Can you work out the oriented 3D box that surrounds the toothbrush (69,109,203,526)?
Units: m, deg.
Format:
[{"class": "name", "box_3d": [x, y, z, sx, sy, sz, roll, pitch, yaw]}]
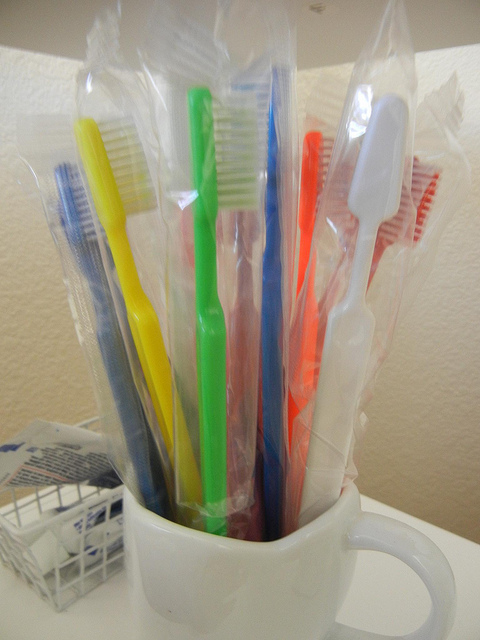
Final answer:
[{"class": "toothbrush", "box_3d": [-0.047, 0.006, 0.292, 0.086, 0.208, 0.039, 20, 30, 38]}]

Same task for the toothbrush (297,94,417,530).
[{"class": "toothbrush", "box_3d": [0.050, 0.009, 0.266, 0.040, 0.211, 0.024, 2, 23, 7]}]

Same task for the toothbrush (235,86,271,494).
[{"class": "toothbrush", "box_3d": [0.004, -0.010, 0.267, 0.018, 0.186, 0.007, -5, 13, -16]}]

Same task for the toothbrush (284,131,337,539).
[{"class": "toothbrush", "box_3d": [0.033, 0.008, 0.295, 0.019, 0.242, 0.010, 0, 8, 1]}]

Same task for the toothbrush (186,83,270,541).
[{"class": "toothbrush", "box_3d": [-0.008, 0.005, 0.279, 0.034, 0.223, 0.062, 6, 24, 15]}]

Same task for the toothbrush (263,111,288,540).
[{"class": "toothbrush", "box_3d": [0.019, 0.008, 0.287, 0.015, 0.200, 0.009, -2, 13, -3]}]
